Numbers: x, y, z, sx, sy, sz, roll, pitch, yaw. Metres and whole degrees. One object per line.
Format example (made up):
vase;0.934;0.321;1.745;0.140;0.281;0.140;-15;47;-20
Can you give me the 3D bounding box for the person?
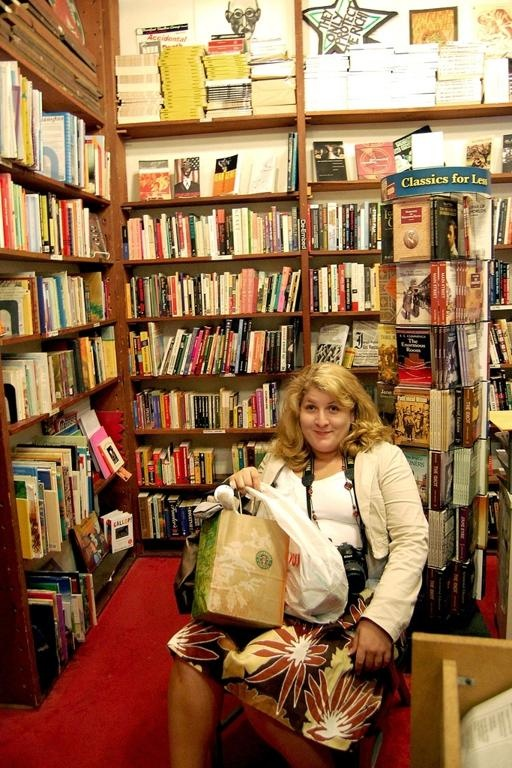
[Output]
person;0.126;0.405;1.449;0.586;0.869;0.707;-1;5;21
